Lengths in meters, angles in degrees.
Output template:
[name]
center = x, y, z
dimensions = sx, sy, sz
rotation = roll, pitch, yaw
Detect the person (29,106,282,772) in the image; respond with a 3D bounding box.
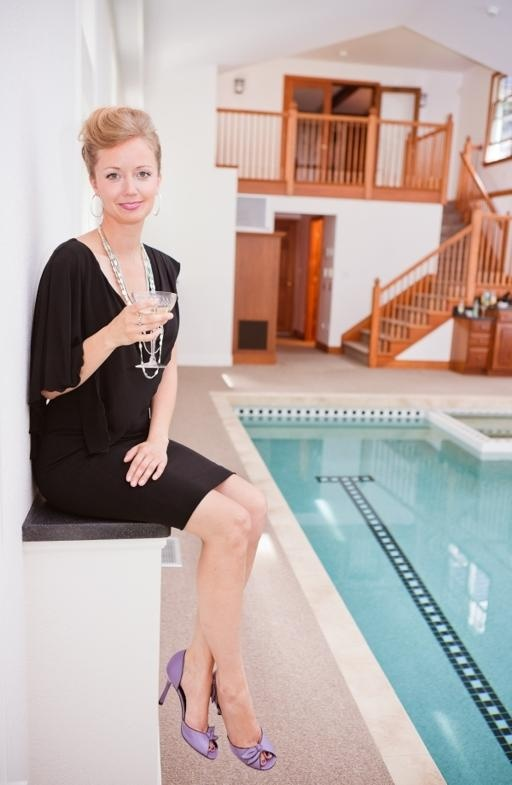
[person]
center = -0.232, 0.129, 1.377
dimensions = 0.628, 1.564, 0.474
rotation = 5, 6, 25

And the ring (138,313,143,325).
[ring]
center = -0.234, -0.147, 1.156
dimensions = 0.006, 0.021, 0.008
rotation = -1, 5, 7
